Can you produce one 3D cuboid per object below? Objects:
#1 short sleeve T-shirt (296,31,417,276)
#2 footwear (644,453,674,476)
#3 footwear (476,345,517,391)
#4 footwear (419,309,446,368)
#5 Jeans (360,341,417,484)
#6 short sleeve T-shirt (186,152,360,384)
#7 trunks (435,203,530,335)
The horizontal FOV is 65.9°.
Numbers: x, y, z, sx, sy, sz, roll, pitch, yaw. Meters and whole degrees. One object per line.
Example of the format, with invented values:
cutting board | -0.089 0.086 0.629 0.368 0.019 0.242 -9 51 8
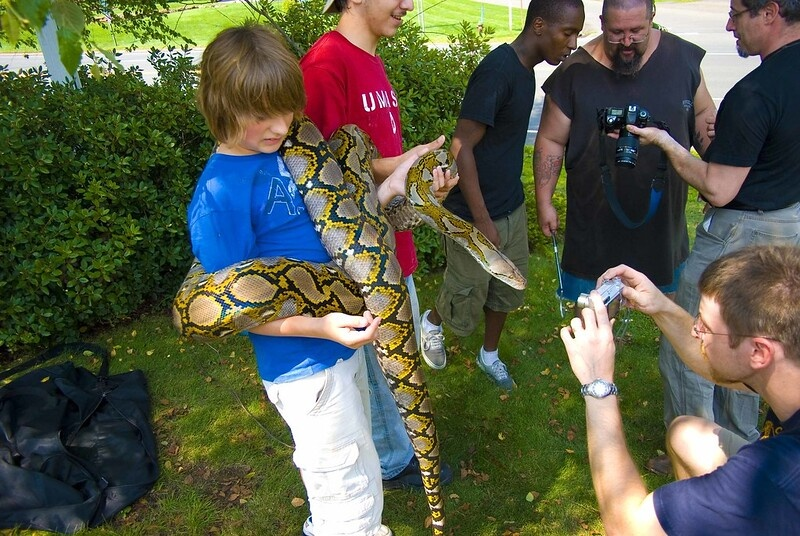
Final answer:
short sleeve T-shirt | -0.545 -1.098 5.718 0.473 2.070 1.432 -13 -16 23
footwear | 2.885 2.192 6.884 0.243 0.080 0.270 -6 45 -4
footwear | 1.224 1.327 8.107 0.264 0.314 0.709 -31 73 -16
footwear | 0.421 0.964 8.202 0.279 0.826 0.304 -8 -5 -17
Jeans | -0.175 1.584 6.603 0.432 1.553 0.223 -18 33 -8
short sleeve T-shirt | -1.021 -0.019 5.167 1.145 1.724 0.887 13 34 21
trunks | 0.980 0.011 7.371 1.052 1.437 0.599 -35 49 -29
